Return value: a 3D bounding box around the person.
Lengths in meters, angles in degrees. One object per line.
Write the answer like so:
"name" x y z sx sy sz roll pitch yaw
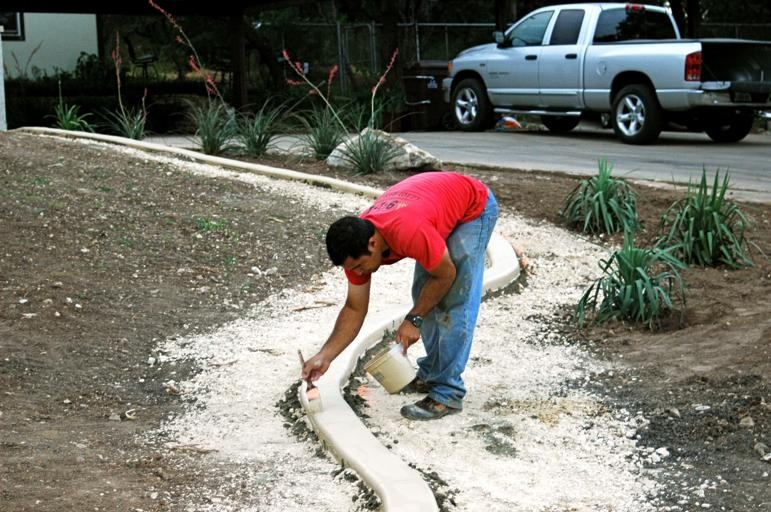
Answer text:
"person" 0.205 0.315 6.525 1.407 1.843 0.644 -6 13 -38

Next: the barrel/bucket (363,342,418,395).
"barrel/bucket" 0.037 0.844 6.628 0.282 0.372 0.362 46 38 2

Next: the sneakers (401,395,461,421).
"sneakers" 0.360 1.135 6.660 0.384 0.159 0.188 2 1 -12

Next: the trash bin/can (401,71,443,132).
"trash bin/can" 0.732 -2.999 17.196 0.594 1.064 1.117 6 11 21
